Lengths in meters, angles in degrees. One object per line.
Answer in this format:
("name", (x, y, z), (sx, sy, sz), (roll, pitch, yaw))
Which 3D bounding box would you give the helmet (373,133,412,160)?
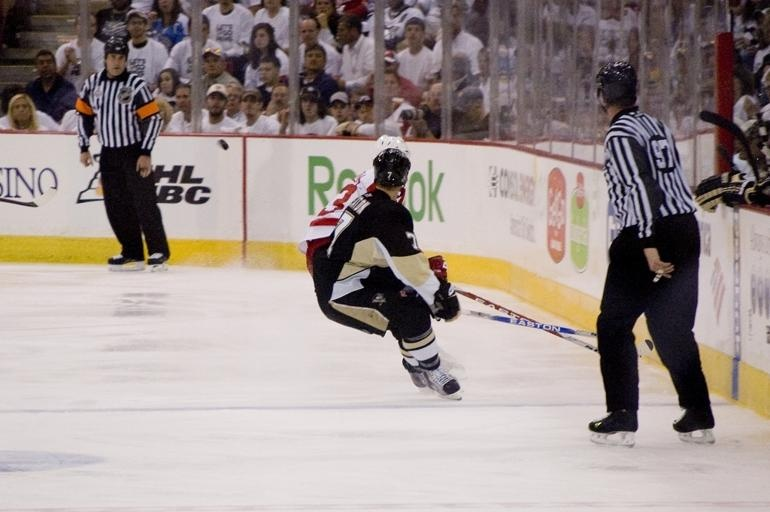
("helmet", (0.058, -0.724, 6.754), (0.190, 0.215, 0.241), (4, 15, 13))

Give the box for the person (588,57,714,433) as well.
("person", (1.420, -0.012, 5.477), (0.686, 1.963, 0.528), (2, 14, 10))

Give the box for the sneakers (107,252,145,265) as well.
("sneakers", (-2.440, 0.027, 9.856), (0.326, 0.125, 0.121), (4, -5, -16))

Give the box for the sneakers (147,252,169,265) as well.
("sneakers", (-2.119, 0.024, 9.789), (0.191, 0.111, 0.112), (-4, 14, -18))

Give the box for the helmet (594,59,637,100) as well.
("helmet", (1.212, -0.922, 5.476), (0.224, 0.168, 0.206), (6, 11, 0))

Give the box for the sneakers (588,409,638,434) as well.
("sneakers", (1.201, 0.874, 5.535), (0.287, 0.118, 0.099), (1, -2, 16))

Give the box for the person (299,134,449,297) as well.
("person", (-0.033, -0.307, 7.441), (0.974, 1.625, 0.587), (0, 43, -18))

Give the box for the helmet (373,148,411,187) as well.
("helmet", (0.030, -0.516, 6.219), (0.196, 0.232, 0.201), (7, -2, -3))

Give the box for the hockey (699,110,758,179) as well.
("hockey", (2.038, -0.671, 6.174), (0.169, 0.573, 0.099), (-34, 50, -6))

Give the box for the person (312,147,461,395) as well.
("person", (0.026, 0.080, 6.301), (0.961, 1.438, 0.517), (3, 14, 15))

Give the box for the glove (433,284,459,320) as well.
("glove", (0.356, 0.265, 6.239), (0.094, 0.204, 0.165), (-19, 16, -26))
